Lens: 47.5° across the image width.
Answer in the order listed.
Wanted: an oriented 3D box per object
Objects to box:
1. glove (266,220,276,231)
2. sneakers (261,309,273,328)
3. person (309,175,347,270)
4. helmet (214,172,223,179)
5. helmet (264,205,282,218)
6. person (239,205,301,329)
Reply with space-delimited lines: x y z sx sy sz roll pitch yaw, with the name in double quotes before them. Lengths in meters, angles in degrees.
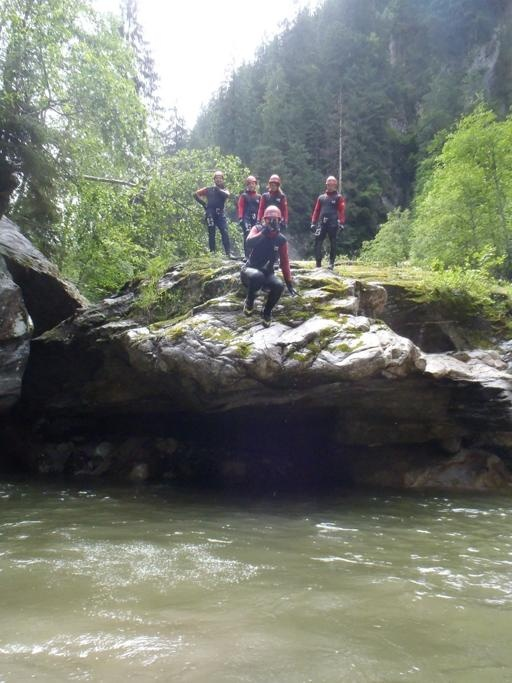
"glove" 0.230 -1.783 8.913 0.120 0.128 0.101 13 22 43
"sneakers" 0.170 -0.361 9.053 0.105 0.275 0.121 2 12 13
"person" 1.406 -2.324 11.558 0.619 1.914 1.202 1 -3 5
"helmet" -0.800 -3.565 12.367 0.178 0.124 0.141 6 -18 -15
"helmet" 0.254 -1.999 8.927 0.246 0.223 0.247 1 -3 0
"person" 0.189 -1.178 9.286 0.838 1.911 1.039 1 -3 -1
